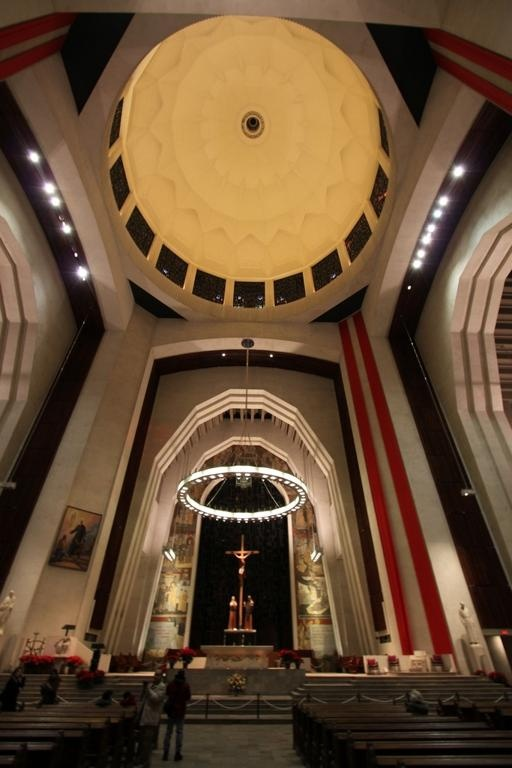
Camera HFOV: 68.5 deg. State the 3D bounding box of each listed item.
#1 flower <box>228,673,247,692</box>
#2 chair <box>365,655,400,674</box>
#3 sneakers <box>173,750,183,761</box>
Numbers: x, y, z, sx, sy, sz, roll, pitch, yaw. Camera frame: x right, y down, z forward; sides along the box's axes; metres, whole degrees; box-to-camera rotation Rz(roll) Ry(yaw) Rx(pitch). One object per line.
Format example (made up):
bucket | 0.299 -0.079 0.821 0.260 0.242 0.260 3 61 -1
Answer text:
flower | -0.319 5.249 6.710 0.306 0.412 0.203 2 -24 -4
chair | 2.731 6.282 8.435 0.347 0.334 1.366 5 -37 -7
sneakers | -0.684 3.253 3.302 0.073 0.059 0.216 5 -37 -7
